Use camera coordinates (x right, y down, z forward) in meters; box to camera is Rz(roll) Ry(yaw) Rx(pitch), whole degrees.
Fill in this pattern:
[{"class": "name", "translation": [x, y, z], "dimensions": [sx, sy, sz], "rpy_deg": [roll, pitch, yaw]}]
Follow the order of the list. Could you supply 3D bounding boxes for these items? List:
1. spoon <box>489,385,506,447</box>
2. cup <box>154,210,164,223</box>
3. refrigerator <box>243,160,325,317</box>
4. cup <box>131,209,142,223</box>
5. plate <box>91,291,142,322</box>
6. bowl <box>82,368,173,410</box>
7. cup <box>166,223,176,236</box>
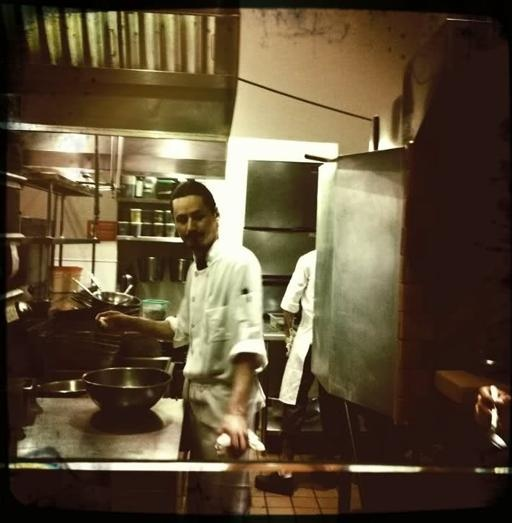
[{"class": "spoon", "translation": [0.646, 0.422, 1.438], "dimensions": [0.034, 0.195, 0.030], "rpy_deg": [-1, 3, 39]}, {"class": "cup", "translation": [-0.261, -0.120, 1.440], "dimensions": [0.026, 0.033, 0.028], "rpy_deg": [4, 4, 0]}, {"class": "refrigerator", "translation": [0.062, -0.086, 1.413], "dimensions": [0.185, 0.357, 0.110], "rpy_deg": [4, 4, 6]}, {"class": "cup", "translation": [-0.307, -0.115, 1.376], "dimensions": [0.035, 0.035, 0.024], "rpy_deg": [2, 4, -27]}, {"class": "plate", "translation": [-0.366, 0.114, 1.400], "dimensions": [0.132, 0.066, 0.053], "rpy_deg": [5, 4, 4]}, {"class": "bowl", "translation": [-0.347, 0.359, 1.481], "dimensions": [0.153, 0.113, 0.222], "rpy_deg": [6, 4, 26]}, {"class": "cup", "translation": [-0.230, -0.085, 1.463], "dimensions": [0.027, 0.035, 0.029], "rpy_deg": [2, 0, 0]}]
